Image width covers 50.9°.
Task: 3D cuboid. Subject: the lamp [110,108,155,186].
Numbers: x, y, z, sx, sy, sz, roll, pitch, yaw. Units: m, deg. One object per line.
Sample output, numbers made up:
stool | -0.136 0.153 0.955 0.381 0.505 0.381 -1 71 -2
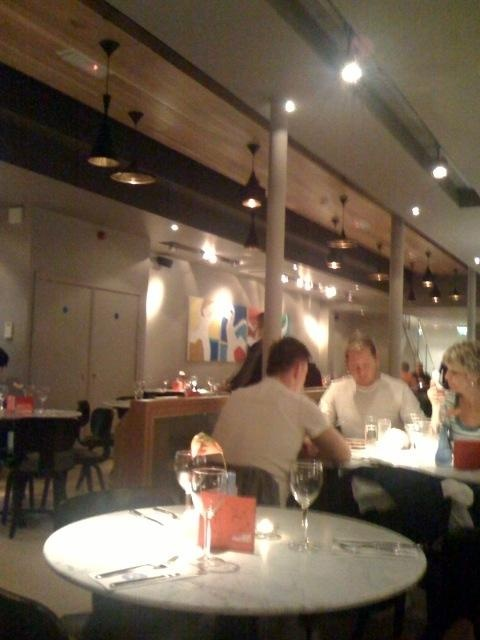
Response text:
lamp | -0.875 -1.447 4.155 0.272 0.503 0.303 21 26 29

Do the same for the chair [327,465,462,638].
chair | 0.514 0.733 1.808 0.396 0.550 0.460 2 -3 8

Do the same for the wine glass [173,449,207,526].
wine glass | -0.127 0.399 1.230 0.066 0.193 0.069 -2 15 -10

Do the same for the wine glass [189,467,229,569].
wine glass | -0.064 0.403 1.038 0.065 0.207 0.068 -1 5 -27

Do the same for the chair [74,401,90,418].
chair | -1.385 0.768 4.376 0.127 0.185 0.131 1 -5 1

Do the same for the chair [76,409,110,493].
chair | -1.087 0.939 3.773 0.271 0.500 0.883 2 -6 -16
